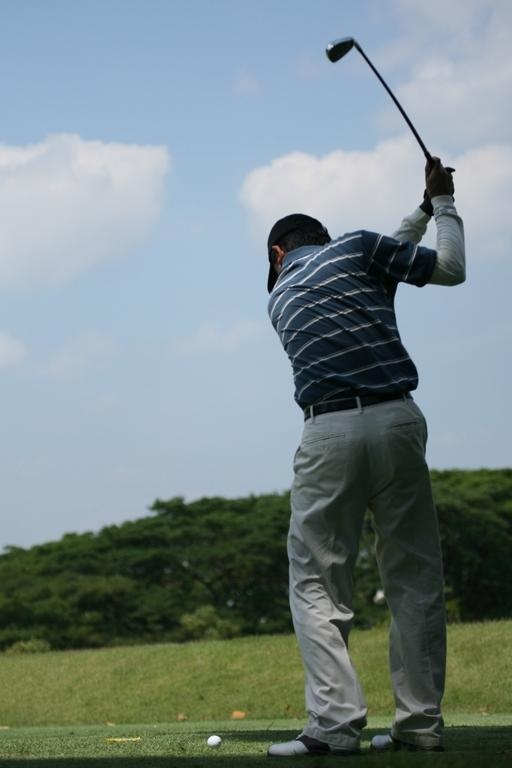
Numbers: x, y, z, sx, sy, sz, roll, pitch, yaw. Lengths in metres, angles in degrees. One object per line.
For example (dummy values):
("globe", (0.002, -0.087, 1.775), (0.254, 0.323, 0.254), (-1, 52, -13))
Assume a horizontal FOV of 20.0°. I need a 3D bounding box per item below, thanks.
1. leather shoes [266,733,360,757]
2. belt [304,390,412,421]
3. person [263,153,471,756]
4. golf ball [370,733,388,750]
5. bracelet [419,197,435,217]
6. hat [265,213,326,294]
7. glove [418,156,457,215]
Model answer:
("leather shoes", (0.218, 1.294, 5.168), (0.326, 0.084, 0.154), (-6, -9, -5))
("belt", (0.383, 0.077, 5.411), (0.391, 0.058, 0.084), (-8, -9, 8))
("person", (0.440, 0.248, 5.641), (0.969, 2.179, 0.649), (-4, -5, 17))
("golf ball", (0.468, 1.329, 5.368), (0.068, 0.039, 0.039), (1, -3, -17))
("bracelet", (0.702, -0.718, 5.870), (0.055, 0.059, 0.070), (1, 17, 17))
("hat", (0.134, -0.553, 5.906), (0.242, 0.186, 0.318), (-6, -45, -29))
("glove", (0.726, -0.780, 5.725), (0.101, 0.210, 0.091), (1, -6, 3))
